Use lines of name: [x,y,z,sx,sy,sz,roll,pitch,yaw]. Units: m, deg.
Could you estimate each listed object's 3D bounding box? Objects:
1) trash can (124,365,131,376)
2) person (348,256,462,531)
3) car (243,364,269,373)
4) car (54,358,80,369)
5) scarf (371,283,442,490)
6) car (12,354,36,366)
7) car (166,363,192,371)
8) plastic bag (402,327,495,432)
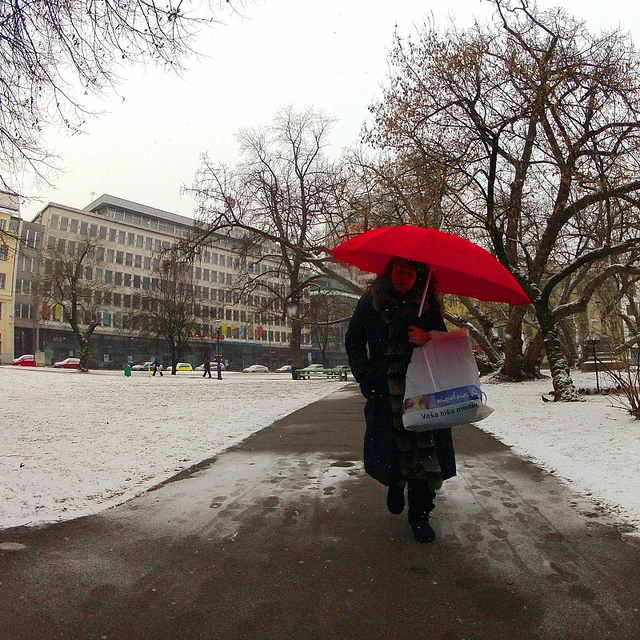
trash can: [-13.553,3.442,37.725,0.291,0.657,0.799,1,-5,-29]
person: [0.599,0.513,4.004,0.776,2.020,0.488,-2,-3,8]
car: [-8.296,6.382,71.300,1.943,0.904,4.922,-3,-5,7]
car: [-25.455,4.300,53.959,1.621,0.831,0.959,9,-10,-40]
scarf: [0.620,0.474,4.354,0.870,1.690,0.440,1,-3,-12]
car: [-29.772,4.009,53.844,2.094,1.216,1.320,6,-7,-30]
car: [-15.806,5.174,60.311,2.408,1.366,1.531,8,-9,-38]
plastic bag: [0.870,0.414,3.827,0.577,0.689,0.160,-1,-3,-9]
